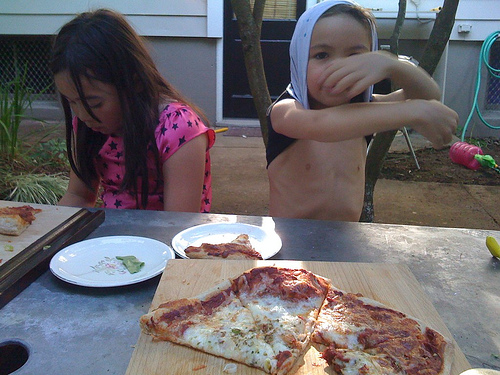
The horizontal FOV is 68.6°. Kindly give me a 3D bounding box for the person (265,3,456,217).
[{"bbox_3d":[0.586,-0.364,2.228,0.952,1.352,0.951,1,24,1],"label":"person"}]

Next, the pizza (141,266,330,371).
[{"bbox_3d":[-0.020,0.411,1.326,0.510,0.072,0.522,12,28,22],"label":"pizza"}]

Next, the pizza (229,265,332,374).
[{"bbox_3d":[0.135,0.448,1.342,0.225,0.052,0.344,-2,28,4],"label":"pizza"}]

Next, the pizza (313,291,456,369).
[{"bbox_3d":[0.426,0.501,1.195,0.422,0.043,0.320,16,29,29],"label":"pizza"}]
